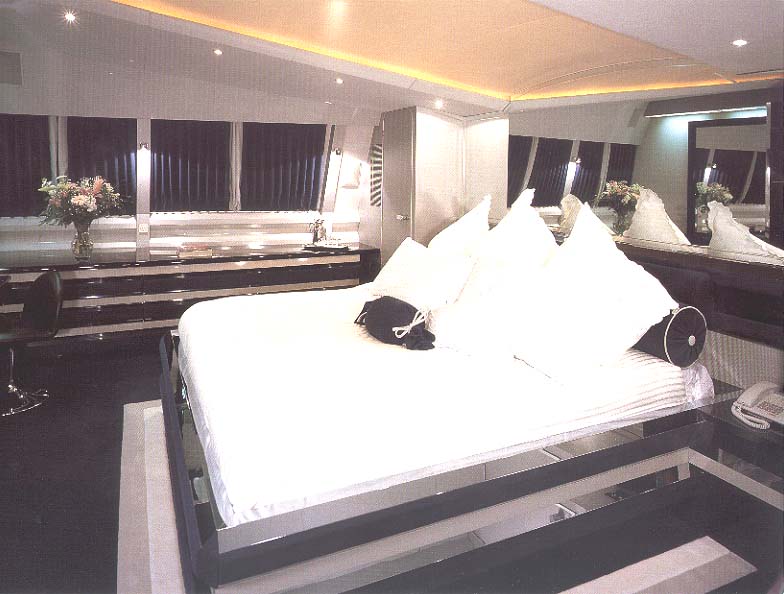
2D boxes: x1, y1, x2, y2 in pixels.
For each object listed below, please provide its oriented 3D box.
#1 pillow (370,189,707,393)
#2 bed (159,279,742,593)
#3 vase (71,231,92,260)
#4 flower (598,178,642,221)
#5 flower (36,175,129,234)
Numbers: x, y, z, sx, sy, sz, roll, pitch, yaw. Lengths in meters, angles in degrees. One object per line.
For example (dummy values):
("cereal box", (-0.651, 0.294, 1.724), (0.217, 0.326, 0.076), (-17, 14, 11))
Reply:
("pillow", (0.721, 0.004, 3.008), (1.312, 0.506, 1.157), (-3, 30, -5))
("bed", (0.043, 0.405, 3.117), (2.198, 0.416, 1.970), (-5, 19, -25))
("vase", (-2.874, -0.470, 5.276), (0.160, 0.247, 0.296), (-7, 19, -29))
("flower", (1.224, -0.526, 3.068), (0.059, 0.170, 0.165), (-16, 33, -30))
("flower", (-2.896, -0.862, 5.350), (0.588, 0.346, 0.547), (11, 7, 26))
